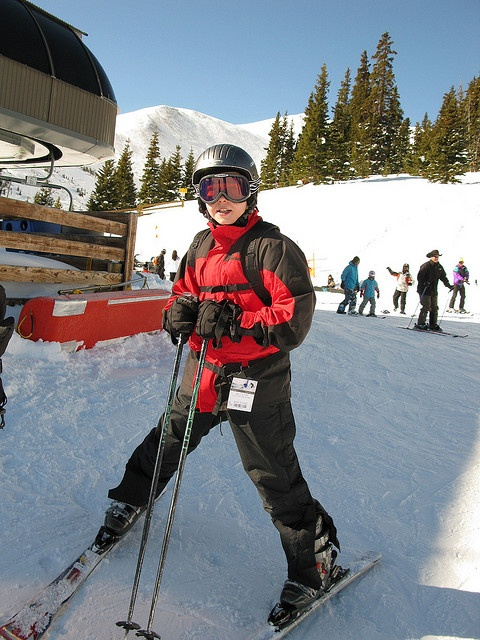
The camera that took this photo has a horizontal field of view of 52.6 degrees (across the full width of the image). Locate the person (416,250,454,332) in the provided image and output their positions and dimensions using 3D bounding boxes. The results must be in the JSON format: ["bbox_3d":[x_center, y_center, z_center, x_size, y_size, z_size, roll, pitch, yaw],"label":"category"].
[{"bbox_3d":[4.397,-0.663,11.112,0.700,1.813,1.397,9,8,23],"label":"person"}]

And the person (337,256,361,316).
[{"bbox_3d":[3.067,-0.952,13.591,0.532,1.562,1.933,8,7,13],"label":"person"}]

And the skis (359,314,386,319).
[{"bbox_3d":[3.677,-0.103,13.586,0.048,0.083,0.571,-31,18,-17],"label":"skis"}]

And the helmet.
[{"bbox_3d":[-0.052,-0.758,2.466,0.290,0.247,0.332,2,25,7],"label":"helmet"}]

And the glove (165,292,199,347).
[{"bbox_3d":[-0.265,-0.002,2.324,0.174,0.236,0.099,8,0,31],"label":"glove"}]
